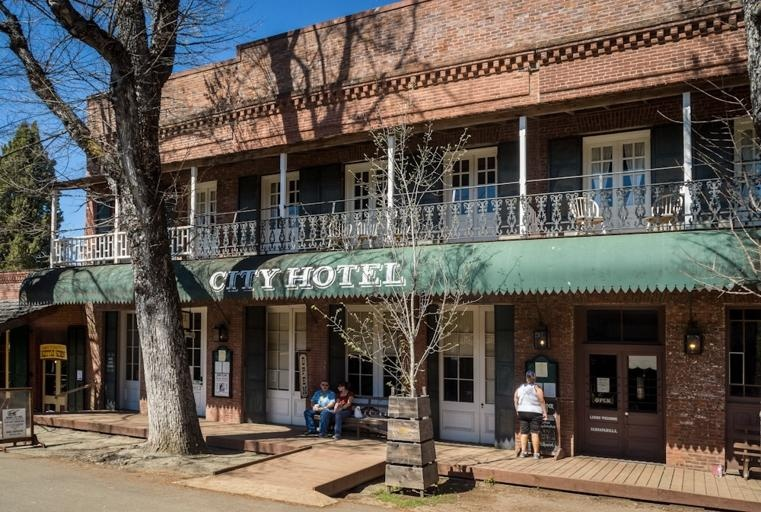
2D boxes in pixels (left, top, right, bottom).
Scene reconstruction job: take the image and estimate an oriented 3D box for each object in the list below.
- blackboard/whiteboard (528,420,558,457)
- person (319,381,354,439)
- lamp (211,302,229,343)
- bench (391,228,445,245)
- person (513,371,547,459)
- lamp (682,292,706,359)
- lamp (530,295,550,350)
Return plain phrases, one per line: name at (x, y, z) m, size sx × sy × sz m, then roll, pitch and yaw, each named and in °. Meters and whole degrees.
blackboard/whiteboard at (4.161, 4.635, 22.047) m, size 0.888 × 1.223 × 0.123 m, roll -4°, pitch -8°, yaw 37°
person at (-1.252, 4.317, 24.263) m, size 0.793 × 1.336 × 1.165 m, roll 3°, pitch 6°, yaw 24°
lamp at (-5.015, 2.066, 26.902) m, size 0.289 × 1.211 × 0.641 m, roll -5°, pitch 8°, yaw -42°
bench at (1.011, -0.538, 22.859) m, size 1.344 × 0.396 × 2.893 m, roll 1°, pitch 5°, yaw 5°
person at (3.817, 4.004, 22.009) m, size 0.798 × 2.166 × 0.582 m, roll 2°, pitch 6°, yaw 11°
lamp at (7.728, 1.715, 21.187) m, size 0.455 × 1.446 × 0.314 m, roll 3°, pitch 7°, yaw 21°
lamp at (4.199, 1.775, 22.549) m, size 0.457 × 1.319 × 0.254 m, roll 4°, pitch 7°, yaw 30°
